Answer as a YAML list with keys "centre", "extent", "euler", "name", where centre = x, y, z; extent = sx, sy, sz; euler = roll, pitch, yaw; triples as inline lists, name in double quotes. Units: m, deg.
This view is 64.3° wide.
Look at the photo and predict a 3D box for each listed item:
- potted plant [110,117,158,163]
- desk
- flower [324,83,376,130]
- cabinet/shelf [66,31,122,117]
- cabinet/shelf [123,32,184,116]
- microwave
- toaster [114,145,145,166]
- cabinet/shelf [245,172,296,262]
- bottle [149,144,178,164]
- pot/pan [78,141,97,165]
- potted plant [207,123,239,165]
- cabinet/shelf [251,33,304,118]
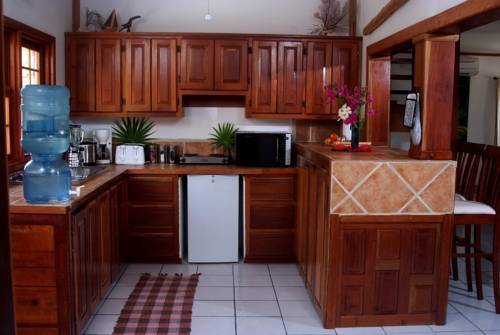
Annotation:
- centre: [-1.501, -0.342, 5.358]
  extent: [0.611, 0.553, 0.596]
  euler: [0, -2, -5]
  name: "potted plant"
- centre: [1.063, 0.735, 4.749]
  extent: [1.291, 1.567, 2.277]
  euler: [2, -2, -10]
  name: "desk"
- centre: [1.159, -0.699, 4.634]
  extent: [0.574, 0.510, 0.807]
  euler: [3, 15, 10]
  name: "flower"
- centre: [-1.891, -1.144, 4.903]
  extent: [0.667, 0.973, 0.202]
  euler: [-1, 15, -4]
  name: "cabinet/shelf"
- centre: [-1.203, -1.123, 4.915]
  extent: [0.626, 0.887, 0.183]
  euler: [1, 15, 1]
  name: "cabinet/shelf"
- centre: [0.285, -0.216, 5.039]
  extent: [0.796, 0.451, 0.450]
  euler: [0, 0, 34]
  name: "microwave"
- centre: [-1.528, -0.171, 5.128]
  extent: [0.373, 0.244, 0.273]
  euler: [2, 11, -8]
  name: "toaster"
- centre: [0.249, 0.622, 4.848]
  extent: [0.614, 1.056, 0.200]
  euler: [0, 15, -1]
  name: "cabinet/shelf"
- centre: [-1.098, -0.168, 5.077]
  extent: [0.408, 0.260, 0.229]
  euler: [0, 1, -5]
  name: "bottle"
- centre: [-1.897, -0.160, 4.754]
  extent: [0.274, 0.260, 0.206]
  euler: [2, 4, 43]
  name: "pot/pan"
- centre: [-0.332, -0.311, 5.326]
  extent: [0.505, 0.537, 0.523]
  euler: [-2, 0, -29]
  name: "potted plant"
- centre: [0.335, -1.108, 4.957]
  extent: [0.652, 0.866, 0.167]
  euler: [0, 15, -3]
  name: "cabinet/shelf"
